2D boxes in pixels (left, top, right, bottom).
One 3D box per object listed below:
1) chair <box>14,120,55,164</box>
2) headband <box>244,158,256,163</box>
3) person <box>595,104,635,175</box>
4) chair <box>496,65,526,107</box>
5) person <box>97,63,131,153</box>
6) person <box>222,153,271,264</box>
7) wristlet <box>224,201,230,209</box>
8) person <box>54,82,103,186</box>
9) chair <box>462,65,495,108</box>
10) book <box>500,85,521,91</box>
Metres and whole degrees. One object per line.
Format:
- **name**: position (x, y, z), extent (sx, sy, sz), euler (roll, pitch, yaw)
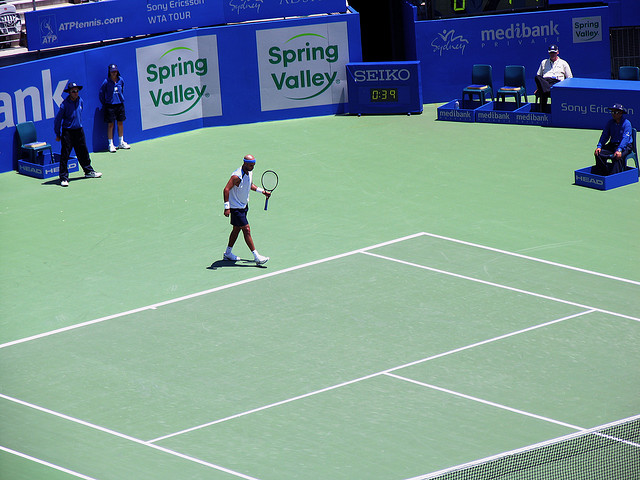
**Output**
- **chair**: position (-7.691, -2.533, 21.371), extent (0.886, 1.001, 0.689), euler (21, 32, 21)
- **headband**: position (-1.351, -1.515, 15.121), extent (0.271, 0.059, 0.267), euler (4, 5, 35)
- **person**: position (6.895, -2.326, 18.560), extent (0.834, 1.629, 0.857), euler (-11, 16, -31)
- **chair**: position (5.735, -4.636, 23.968), extent (0.761, 1.200, 0.841), euler (4, 15, 24)
- **person**: position (-5.857, -3.702, 22.518), extent (0.740, 2.459, 0.917), euler (-6, 14, -11)
- **person**: position (-1.525, -0.552, 15.551), extent (0.873, 2.232, 1.078), euler (-5, 14, -7)
- **wristlet**: position (-1.785, -0.657, 15.096), extent (0.135, 0.106, 0.110), euler (-3, 13, -8)
- **person**: position (-6.307, -2.696, 20.347), extent (0.929, 2.604, 0.930), euler (-3, 14, -2)
- **chair**: position (4.877, -4.775, 24.619), extent (0.935, 1.283, 1.280), euler (0, 13, 9)
- **book**: position (5.727, -4.574, 23.900), extent (0.570, 0.136, 0.671), euler (3, 13, 21)
